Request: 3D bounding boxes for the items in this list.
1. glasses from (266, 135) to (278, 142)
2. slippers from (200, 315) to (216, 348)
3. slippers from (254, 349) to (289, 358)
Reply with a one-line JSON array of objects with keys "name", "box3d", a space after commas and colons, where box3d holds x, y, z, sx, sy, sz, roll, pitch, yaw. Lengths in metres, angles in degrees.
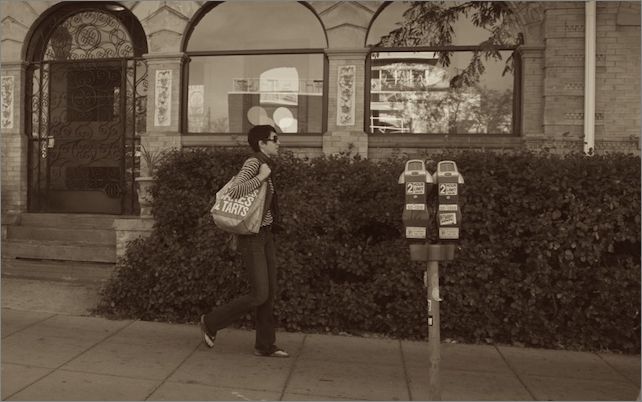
[{"name": "glasses", "box3d": [-0.670, -0.880, 8.950, 0.108, 0.110, 0.037, 0, -4, 12]}, {"name": "slippers", "box3d": [-1.582, 1.822, 8.996, 0.207, 0.472, 0.177, -10, 8, 8]}, {"name": "slippers", "box3d": [-0.702, 2.158, 8.924, 0.463, 0.135, 0.163, -2, -2, 2]}]
